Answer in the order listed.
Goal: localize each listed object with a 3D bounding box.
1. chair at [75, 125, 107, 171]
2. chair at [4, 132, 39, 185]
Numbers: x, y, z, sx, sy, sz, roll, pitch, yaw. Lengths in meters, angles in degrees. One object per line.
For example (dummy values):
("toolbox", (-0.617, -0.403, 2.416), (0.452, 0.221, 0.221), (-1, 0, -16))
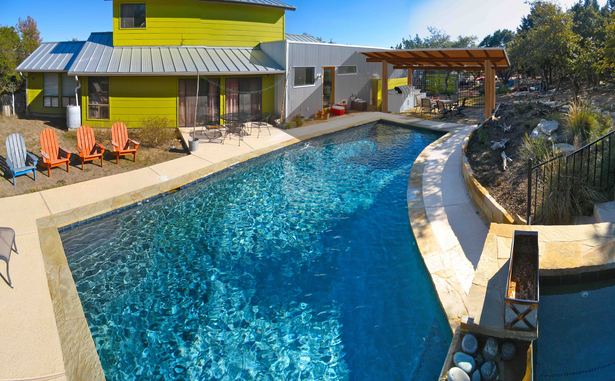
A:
("chair", (-9.337, -1.779, 16.829), (1.198, 1.670, 1.687), (-15, 54, -39))
("chair", (-11.111, -1.147, 15.133), (1.151, 1.581, 1.633), (-21, 68, -50))
